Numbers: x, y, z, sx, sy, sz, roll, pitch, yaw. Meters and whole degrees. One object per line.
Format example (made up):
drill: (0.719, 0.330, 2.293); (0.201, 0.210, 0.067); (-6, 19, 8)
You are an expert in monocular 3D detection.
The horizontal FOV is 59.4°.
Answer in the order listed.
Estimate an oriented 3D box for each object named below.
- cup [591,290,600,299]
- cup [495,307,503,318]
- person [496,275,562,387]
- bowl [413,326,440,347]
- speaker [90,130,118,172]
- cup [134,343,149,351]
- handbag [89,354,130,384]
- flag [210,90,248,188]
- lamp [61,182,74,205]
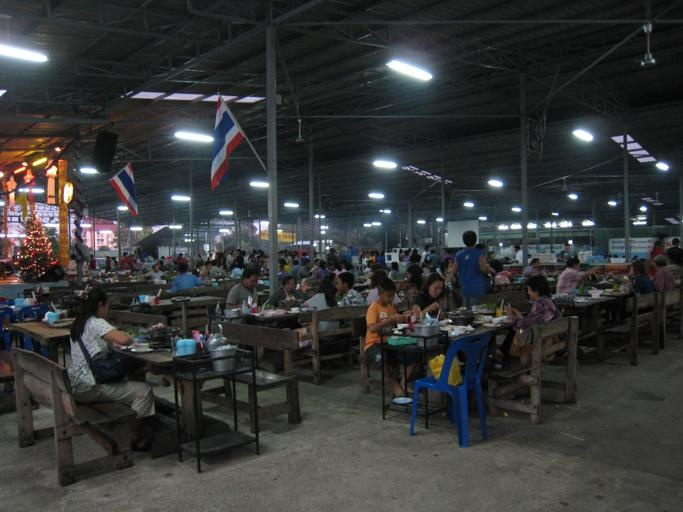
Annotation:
cup: (5.333, 0.803, 12.524); (0.177, 0.119, 0.161); (-2, 0, 0)
cup: (2.605, 0.937, 9.939); (0.112, 0.120, 0.110); (-1, 2, 0)
person: (2.994, 1.120, 9.658); (0.901, 1.570, 0.786); (2, 6, 37)
bowl: (1.243, 1.147, 8.666); (0.352, 0.248, 0.290); (-1, 0, -17)
speaker: (-7.843, -3.520, 19.812); (0.671, 1.506, 1.323); (0, -1, -21)
cup: (-2.752, 1.248, 8.221); (0.142, 0.057, 0.114); (-6, -6, 28)
handbag: (-3.145, 1.527, 8.151); (0.468, 0.427, 0.335); (-11, -4, -21)
flag: (-2.495, -2.527, 12.978); (0.625, 2.140, 1.105); (0, -1, -11)
lamp: (-10.252, -2.343, 22.332); (0.225, 0.901, 0.928); (0, 15, -44)
